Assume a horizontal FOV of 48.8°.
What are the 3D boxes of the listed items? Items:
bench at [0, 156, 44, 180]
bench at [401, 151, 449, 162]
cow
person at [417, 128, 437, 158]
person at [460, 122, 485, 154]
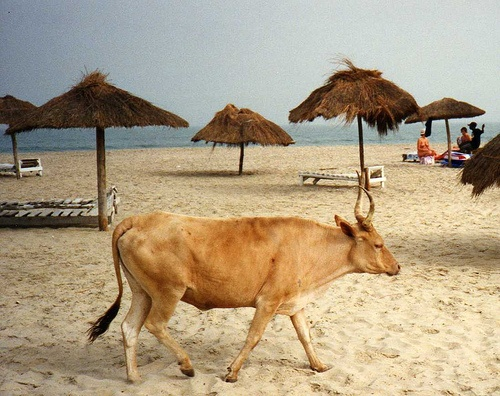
[{"bbox_3d":[-7.878,-1.090,19.088,0.807,0.581,1.378,-3,8,-43],"label":"bench"},{"bbox_3d":[6.815,-1.649,22.334,1.016,0.328,0.782,3,9,4],"label":"bench"},{"bbox_3d":[-0.144,0.897,5.693,2.751,1.899,0.816,-4,14,-16],"label":"cow"},{"bbox_3d":[7.008,-2.209,21.888,0.648,1.225,2.862,4,15,17],"label":"person"},{"bbox_3d":[7.749,-2.097,19.402,0.728,1.279,0.575,17,15,30],"label":"person"}]
